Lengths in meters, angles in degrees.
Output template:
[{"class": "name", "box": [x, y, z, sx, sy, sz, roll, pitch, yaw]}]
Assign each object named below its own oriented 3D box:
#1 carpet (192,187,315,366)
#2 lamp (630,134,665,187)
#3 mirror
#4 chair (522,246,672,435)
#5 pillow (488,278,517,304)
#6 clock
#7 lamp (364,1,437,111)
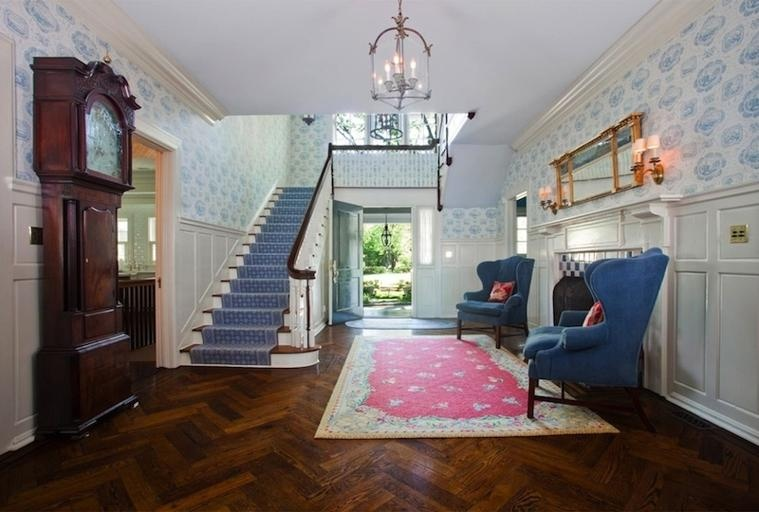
[{"class": "carpet", "box": [-1.939, 0.234, 7.538, 1.208, 2.266, 3.332, -1, 1, -5]}, {"class": "lamp", "box": [2.856, -1.020, 5.072, 0.308, 0.537, 0.326, 0, 1, 28]}, {"class": "mirror", "box": [2.715, -1.170, 5.837, 0.293, 0.696, 1.488, 2, -9, -8]}, {"class": "chair", "box": [2.129, 0.791, 5.393, 1.572, 2.030, 1.650, 0, -3, 18]}, {"class": "pillow", "box": [1.868, 0.528, 7.284, 0.103, 0.318, 0.338, 35, -16, -34]}, {"class": "clock", "box": [-2.647, -1.133, 4.632, 0.052, 0.772, 0.511, 0, 1, 15]}, {"class": "lamp", "box": [0.213, -2.064, 5.516, 0.799, 0.978, 1.878, 0, 0, 5]}]
